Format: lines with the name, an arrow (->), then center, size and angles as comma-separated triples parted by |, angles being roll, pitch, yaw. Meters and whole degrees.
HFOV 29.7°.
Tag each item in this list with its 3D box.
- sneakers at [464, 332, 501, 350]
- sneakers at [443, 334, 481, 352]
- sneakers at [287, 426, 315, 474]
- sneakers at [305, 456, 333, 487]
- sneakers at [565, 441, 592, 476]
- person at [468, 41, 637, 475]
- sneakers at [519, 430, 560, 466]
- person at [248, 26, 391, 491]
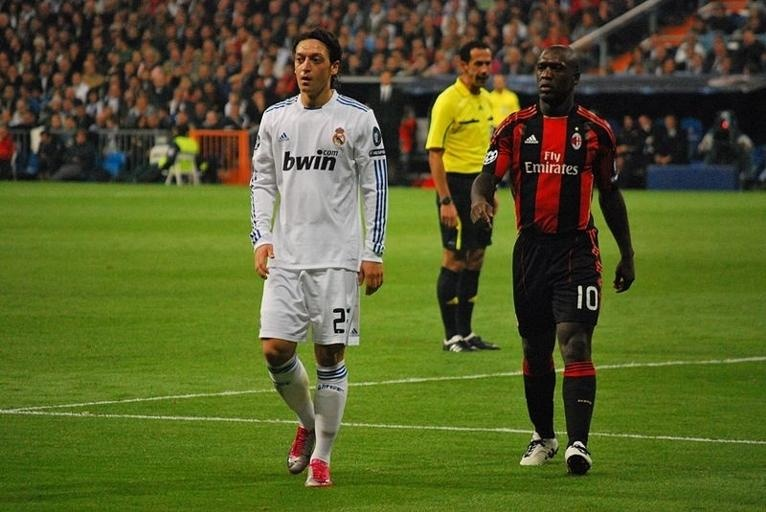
sneakers -> 1.071, 0.906, 15.156 | 0.411, 0.133, 0.149 | 2, 3, 5
sneakers -> 0.807, 0.928, 15.115 | 0.293, 0.104, 0.166 | -2, 0, 28
sneakers -> -0.679, 1.649, 12.187 | 0.170, 0.181, 0.473 | 11, 37, 2
sneakers -> -0.519, 1.802, 11.962 | 0.228, 0.193, 0.521 | 1, -5, -3
sneakers -> 1.630, 1.682, 12.021 | 0.147, 0.359, 0.192 | 1, 44, 5
person -> 1.417, 0.003, 12.269 | 1.152, 3.536, 0.960 | 6, 14, 30
sneakers -> 1.338, 1.668, 12.385 | 0.207, 0.227, 0.585 | 0, 10, 32
person -> -0.513, -0.034, 12.112 | 1.144, 3.703, 0.961 | -1, 12, -5
